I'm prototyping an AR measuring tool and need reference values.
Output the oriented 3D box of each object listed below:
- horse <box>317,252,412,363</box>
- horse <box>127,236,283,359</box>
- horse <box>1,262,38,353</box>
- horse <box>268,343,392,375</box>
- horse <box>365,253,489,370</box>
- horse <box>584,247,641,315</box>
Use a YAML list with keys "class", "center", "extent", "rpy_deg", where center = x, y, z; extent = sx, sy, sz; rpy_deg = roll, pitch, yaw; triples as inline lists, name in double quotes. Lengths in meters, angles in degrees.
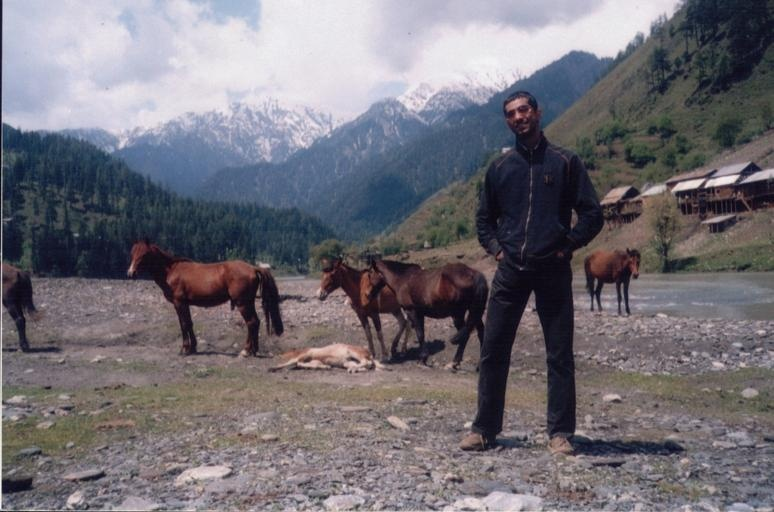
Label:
- class: "horse"
  center: [-0.582, 3.446, 46.050]
  extent: [8.029, 5.604, 2.038]
  rpy_deg: [3, -13, -43]
- class: "horse"
  center: [-10.701, 2.567, 45.169]
  extent: [8.971, 6.994, 2.594]
  rpy_deg: [1, 0, 0]
- class: "horse"
  center: [-21.202, 3.009, 44.141]
  extent: [2.171, 5.092, 2.448]
  rpy_deg: [4, -5, -3]
- class: "horse"
  center: [-3.073, 5.561, 43.606]
  extent: [7.334, 2.319, 2.286]
  rpy_deg: [-1, -19, 7]
- class: "horse"
  center: [-0.195, 2.375, 42.466]
  extent: [6.020, 6.708, 12.733]
  rpy_deg: [0, -1, -16]
- class: "horse"
  center: [15.592, 1.800, 53.418]
  extent: [1.753, 4.636, 6.807]
  rpy_deg: [-2, 1, -15]
